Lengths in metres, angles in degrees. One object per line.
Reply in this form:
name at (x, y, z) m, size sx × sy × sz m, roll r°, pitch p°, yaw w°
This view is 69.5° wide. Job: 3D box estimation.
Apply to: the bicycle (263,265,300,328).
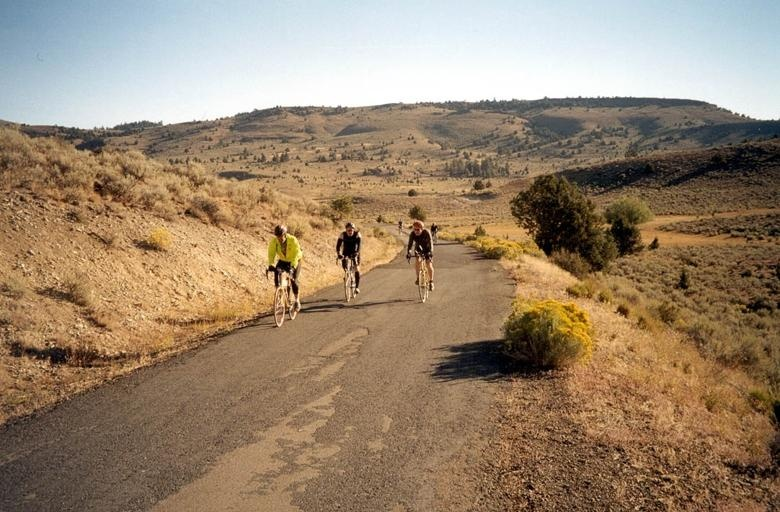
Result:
bicycle at (-3.550, 1.212, 18.822) m, size 0.629 × 1.867 × 1.562 m, roll 3°, pitch 11°, yaw 9°
